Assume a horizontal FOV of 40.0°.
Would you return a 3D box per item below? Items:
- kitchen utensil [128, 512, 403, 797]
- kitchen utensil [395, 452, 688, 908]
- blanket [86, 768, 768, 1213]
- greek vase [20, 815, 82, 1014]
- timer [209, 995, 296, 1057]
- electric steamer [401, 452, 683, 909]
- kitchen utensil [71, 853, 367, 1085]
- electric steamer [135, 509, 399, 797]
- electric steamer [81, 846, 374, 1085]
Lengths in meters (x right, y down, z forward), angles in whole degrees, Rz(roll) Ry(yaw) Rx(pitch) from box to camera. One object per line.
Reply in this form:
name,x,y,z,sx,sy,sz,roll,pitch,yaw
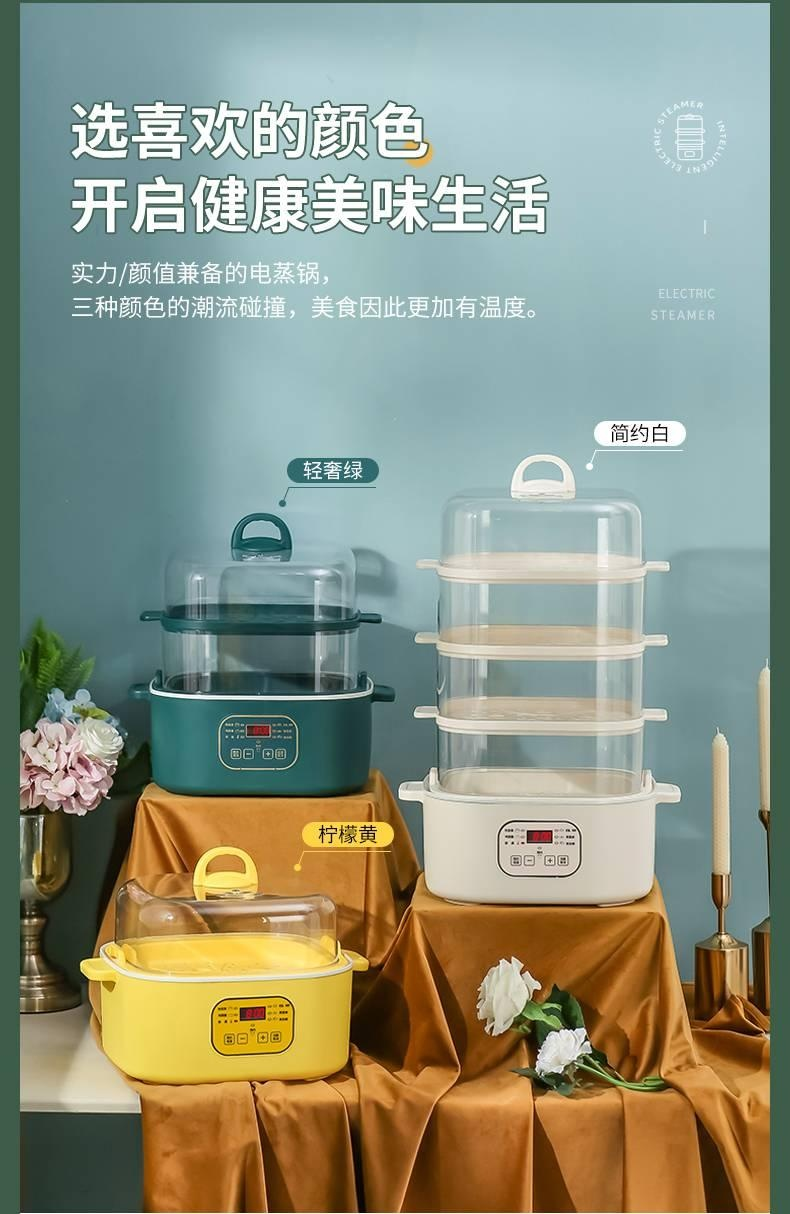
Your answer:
kitchen utensil,-0.205,0.096,1.962,0.514,0.536,0.373,0,-6,-4
kitchen utensil,0.241,0.117,1.848,0.471,0.690,0.454,-4,8,-24
blanket,0.068,0.620,1.523,0.684,0.216,0.726,-1,10,-6
greek vase,-0.601,0.525,1.889,0.120,0.360,0.084,3,-1,-35
timer,-0.192,0.572,1.480,0.132,0.093,0.074,0,-3,-5
electric steamer,0.224,0.132,1.837,0.490,0.680,0.490,-2,5,-39
kitchen utensil,-0.214,0.537,1.629,0.379,0.237,0.302,1,-1,-6
electric steamer,-0.226,0.091,1.958,0.462,0.462,0.364,1,5,-2
electric steamer,-0.231,0.461,1.531,0.334,0.241,0.260,2,-7,-15
